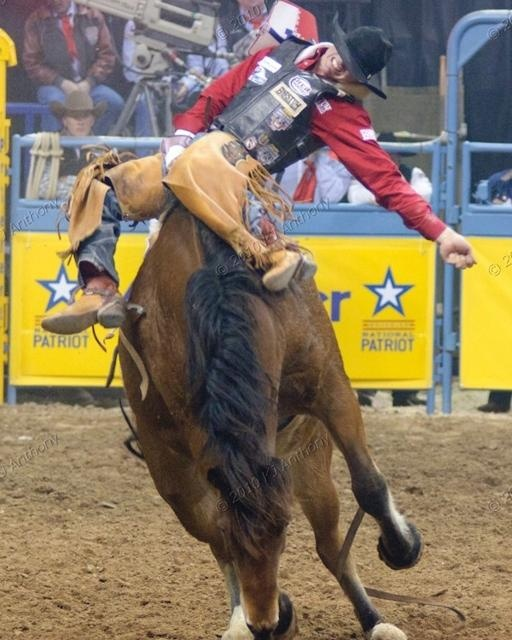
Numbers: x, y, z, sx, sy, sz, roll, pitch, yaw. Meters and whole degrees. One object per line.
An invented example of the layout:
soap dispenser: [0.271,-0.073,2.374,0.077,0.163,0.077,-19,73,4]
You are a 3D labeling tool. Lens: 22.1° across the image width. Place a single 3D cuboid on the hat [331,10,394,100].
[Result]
hat: [0.506,-1.244,6.236,0.296,0.356,0.244,1,4,-8]
